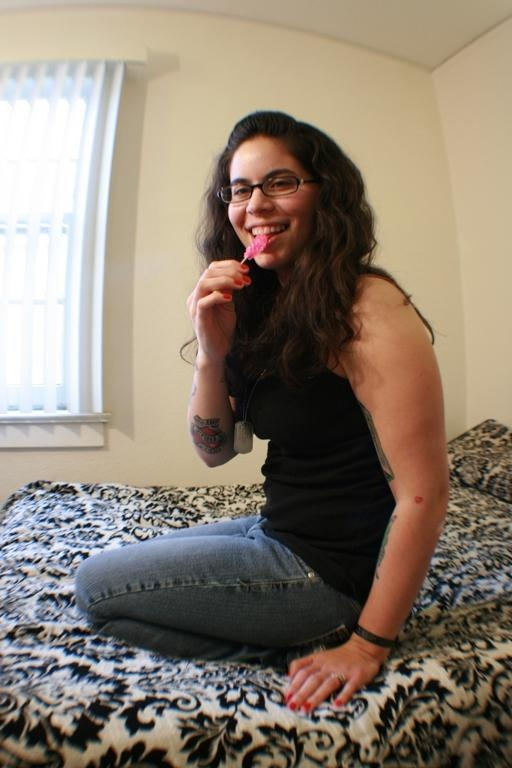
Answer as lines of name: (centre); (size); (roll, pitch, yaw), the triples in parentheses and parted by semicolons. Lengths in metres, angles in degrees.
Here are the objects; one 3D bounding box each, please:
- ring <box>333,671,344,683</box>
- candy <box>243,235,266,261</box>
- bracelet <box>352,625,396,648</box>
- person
ring: (0.128, 0.460, 0.937); (0.011, 0.009, 0.014); (33, -2, -12)
candy: (-0.001, -0.293, 1.304); (0.057, 0.032, 0.026); (-46, -31, 17)
bracelet: (0.192, 0.413, 0.971); (0.046, 0.011, 0.043); (16, 3, -11)
person: (0.042, 0.007, 1.224); (0.657, 1.064, 0.534); (2, -2, 19)
